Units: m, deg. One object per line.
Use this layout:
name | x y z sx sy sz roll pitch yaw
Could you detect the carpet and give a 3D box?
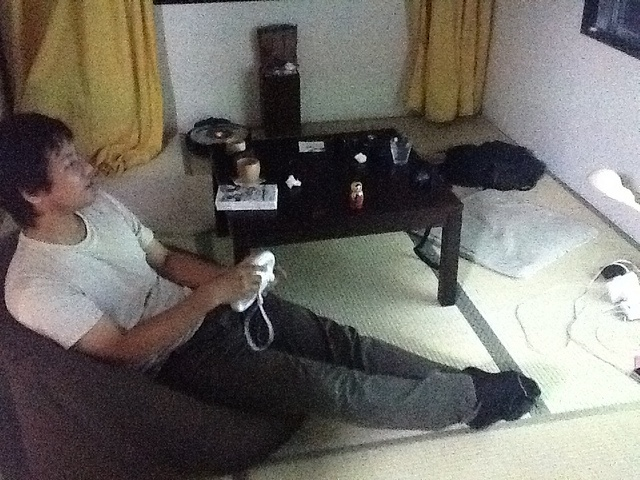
carpet | 0.981 -0.029 2.813 0.515 0.046 0.568 -28 36 -33
